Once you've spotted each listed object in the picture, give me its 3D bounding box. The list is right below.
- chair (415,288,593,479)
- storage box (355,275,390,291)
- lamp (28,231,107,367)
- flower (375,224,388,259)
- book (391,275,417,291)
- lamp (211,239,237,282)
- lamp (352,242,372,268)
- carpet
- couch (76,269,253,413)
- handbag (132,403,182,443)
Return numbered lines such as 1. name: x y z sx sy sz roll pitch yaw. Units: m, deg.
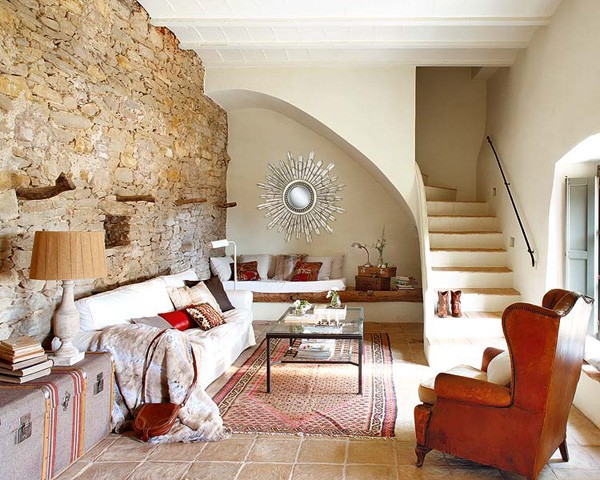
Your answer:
1. chair: 1.513 0.880 3.029 1.190 1.580 1.188 1 2 41
2. storage box: 1.231 0.718 6.412 0.399 0.210 0.300 1 1 29
3. lamp: -1.718 0.410 2.817 0.486 0.954 0.306 -1 3 -25
4. flower: 1.495 0.073 7.026 0.206 0.648 0.070 -1 3 -12
5. book: 1.776 0.725 6.504 0.410 0.202 0.480 1 3 13
6. lamp: -1.303 0.363 6.437 0.330 0.190 0.727 1 -28 -5
7. lamp: 1.141 0.241 7.032 0.356 0.421 0.133 1 3 17
8. carpet: 0.129 1.498 4.036 1.799 0.065 2.207 0 2 8
9. couch: -1.353 0.665 3.929 0.932 0.970 1.952 -1 2 11
10. handbag: -1.154 1.431 3.009 0.372 0.204 0.267 0 3 -10
